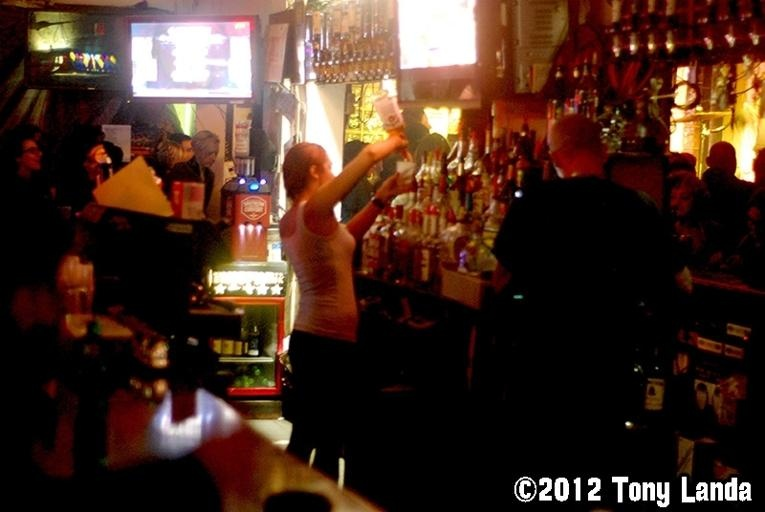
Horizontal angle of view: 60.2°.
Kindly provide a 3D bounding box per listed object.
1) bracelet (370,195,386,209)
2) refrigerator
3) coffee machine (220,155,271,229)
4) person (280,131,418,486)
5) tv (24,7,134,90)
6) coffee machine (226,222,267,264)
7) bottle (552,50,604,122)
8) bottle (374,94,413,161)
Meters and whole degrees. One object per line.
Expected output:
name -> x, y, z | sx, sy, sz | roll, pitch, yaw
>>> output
bracelet -> -0.023, -0.339, 4.085 | 0.074, 0.018, 0.076 | 45, -6, -40
refrigerator -> -1.235, 0.810, 6.162 | 0.830, 1.215, 0.817 | 4, -13, -21
coffee machine -> -1.246, -0.597, 6.055 | 0.368, 0.590, 0.338 | -5, 12, -36
person -> -0.256, 0.288, 3.946 | 0.798, 1.951, 0.490 | -7, 6, -14
tv -> -2.976, -1.997, 6.534 | 1.240, 0.867, 0.111 | 5, 5, 16
coffee machine -> -1.213, -0.120, 5.933 | 0.346, 0.317, 0.333 | 0, 3, -11
bottle -> 1.184, -1.016, 3.969 | 0.396, 0.453, 0.390 | 1, 10, 13
bottle -> 0.063, -0.782, 3.956 | 0.189, 0.411, 0.387 | -5, 7, 3
